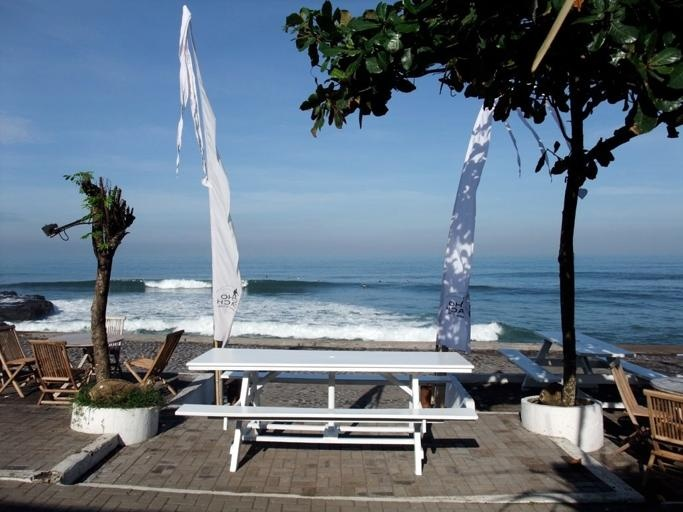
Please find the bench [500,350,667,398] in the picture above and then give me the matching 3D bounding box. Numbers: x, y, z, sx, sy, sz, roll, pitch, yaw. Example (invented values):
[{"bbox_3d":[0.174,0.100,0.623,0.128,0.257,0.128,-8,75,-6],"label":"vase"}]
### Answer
[{"bbox_3d":[4.380,2.150,9.403,1.626,0.346,1.584,-1,-2,7],"label":"bench"}]
